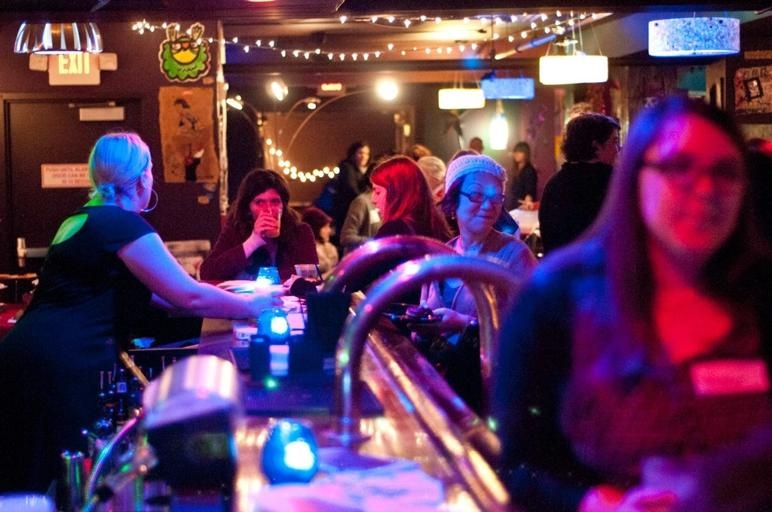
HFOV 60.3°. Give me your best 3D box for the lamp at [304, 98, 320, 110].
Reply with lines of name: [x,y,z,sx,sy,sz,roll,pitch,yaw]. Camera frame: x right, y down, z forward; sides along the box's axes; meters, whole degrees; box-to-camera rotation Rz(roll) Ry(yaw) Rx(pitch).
lamp: [-1.228,-2.571,11.271,0.252,0.205,0.111,-7,10,-37]

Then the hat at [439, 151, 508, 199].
hat: [0.348,-0.359,2.781,0.190,0.204,0.105,-6,51,-5]

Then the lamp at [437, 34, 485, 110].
lamp: [1.015,-2.442,9.138,0.942,0.613,0.653,0,-2,1]

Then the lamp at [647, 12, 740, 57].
lamp: [2.401,-1.700,5.190,0.658,0.231,0.658,9,17,36]

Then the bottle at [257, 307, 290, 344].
bottle: [-0.374,0.235,2.194,0.122,0.118,0.081,-28,-31,31]

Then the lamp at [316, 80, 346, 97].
lamp: [-0.897,-2.780,11.092,0.468,0.198,0.361,-1,8,-3]

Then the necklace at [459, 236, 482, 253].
necklace: [0.351,-0.050,2.783,0.070,0.048,0.070,0,2,26]

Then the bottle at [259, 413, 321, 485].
bottle: [-0.202,0.410,1.424,0.148,0.110,0.204,2,0,-4]

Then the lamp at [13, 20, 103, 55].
lamp: [-2.066,-1.387,4.257,0.342,0.120,0.336,-3,4,-24]
